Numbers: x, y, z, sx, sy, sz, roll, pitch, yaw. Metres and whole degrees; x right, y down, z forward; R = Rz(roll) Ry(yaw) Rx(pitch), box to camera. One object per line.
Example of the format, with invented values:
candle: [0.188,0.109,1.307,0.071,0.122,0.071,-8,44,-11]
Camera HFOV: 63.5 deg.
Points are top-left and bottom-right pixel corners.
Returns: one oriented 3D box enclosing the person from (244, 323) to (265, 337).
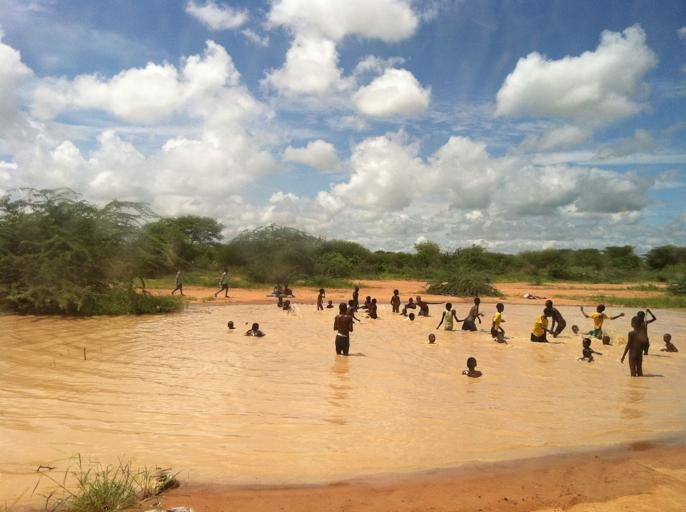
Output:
person: [-2.981,2.587,18.779,0.828,0.423,0.514,2,-37,-5]
